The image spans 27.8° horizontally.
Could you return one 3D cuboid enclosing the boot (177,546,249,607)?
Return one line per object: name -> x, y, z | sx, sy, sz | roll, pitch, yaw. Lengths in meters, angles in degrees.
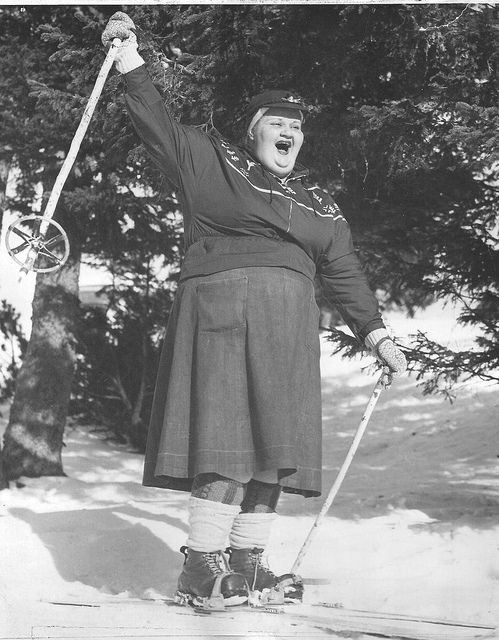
boot -> -0.157, 1.067, 4.226 | 0.141, 0.239, 0.395 | 23, -24, -37
